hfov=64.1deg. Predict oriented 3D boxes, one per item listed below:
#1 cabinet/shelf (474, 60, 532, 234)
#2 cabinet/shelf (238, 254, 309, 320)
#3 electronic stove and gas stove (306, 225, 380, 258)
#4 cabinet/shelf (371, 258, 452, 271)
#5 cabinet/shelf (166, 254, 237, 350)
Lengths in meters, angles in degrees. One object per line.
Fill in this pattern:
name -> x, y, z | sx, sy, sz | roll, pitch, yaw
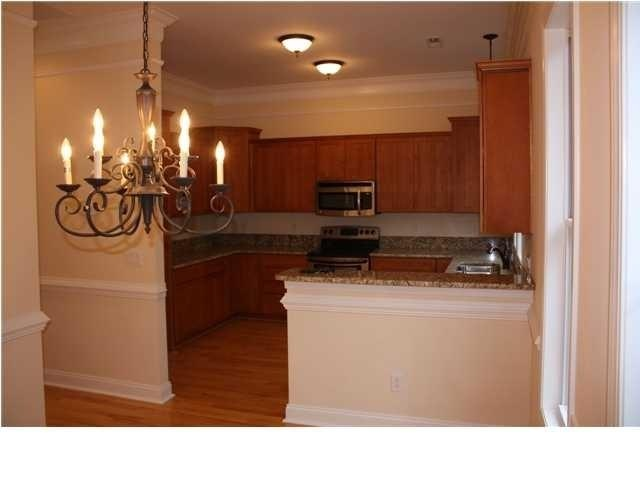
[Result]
cabinet/shelf -> 1.129, -0.569, 3.115 | 0.350, 1.062, 1.076 | 2, 7, 16
cabinet/shelf -> -0.487, 0.485, 5.585 | 0.845, 0.780, 0.296 | 0, 0, 11
electronic stove and gas stove -> 0.310, 0.024, 6.367 | 0.623, 0.419, 0.464 | 0, -1, 17
cabinet/shelf -> 1.022, 0.281, 5.829 | 0.913, 0.173, 0.170 | 1, 9, 14
cabinet/shelf -> -1.331, 0.708, 5.731 | 0.345, 0.629, 0.983 | -1, 4, 10
